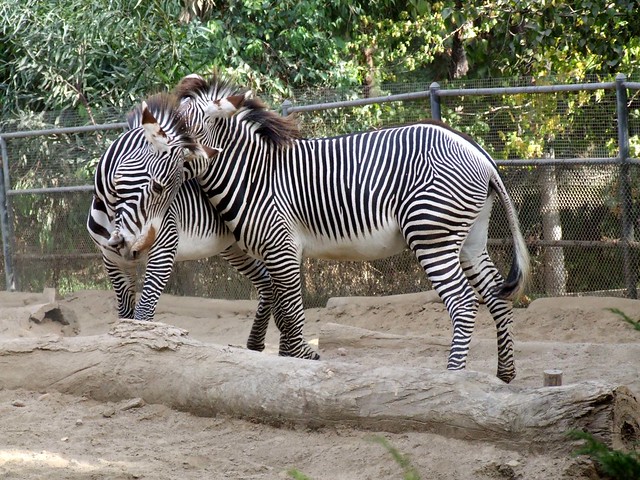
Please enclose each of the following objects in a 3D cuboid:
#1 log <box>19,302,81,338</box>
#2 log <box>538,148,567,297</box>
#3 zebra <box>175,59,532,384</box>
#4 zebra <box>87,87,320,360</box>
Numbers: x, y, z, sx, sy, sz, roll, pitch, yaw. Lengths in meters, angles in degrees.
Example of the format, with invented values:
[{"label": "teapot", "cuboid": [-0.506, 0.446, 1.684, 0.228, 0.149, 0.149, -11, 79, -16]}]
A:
[{"label": "log", "cuboid": [-2.746, 0.810, 10.153, 0.454, 0.172, 0.341, -12, -38, 38]}, {"label": "log", "cuboid": [2.472, -0.188, 10.613, 0.250, 1.565, 0.161, 0, 2, 42]}, {"label": "zebra", "cuboid": [0.089, -0.013, 8.919, 3.356, 2.701, 1.053, 1, -11, 7]}, {"label": "zebra", "cuboid": [-1.524, -0.201, 9.521, 0.724, 2.110, 2.965, 10, 3, 5]}]
